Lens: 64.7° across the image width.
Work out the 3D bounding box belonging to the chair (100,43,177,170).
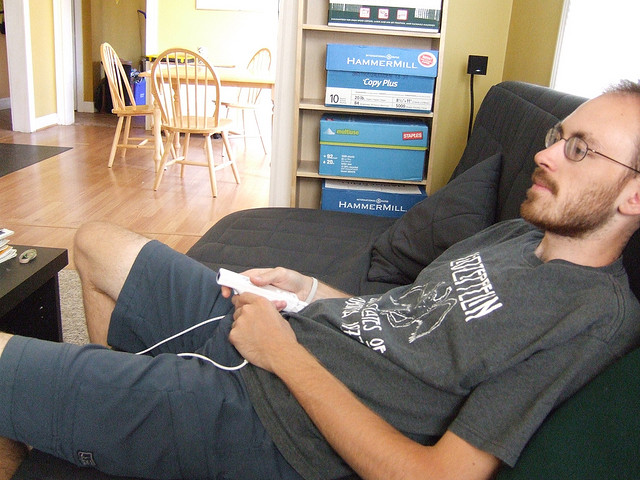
[{"bbox_3d":[-1.809,-1.397,4.934,0.592,1.039,0.529,5,37,-9],"label":"chair"}]

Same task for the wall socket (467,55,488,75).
[{"bbox_3d":[0.897,-0.988,2.844,0.115,0.097,0.065,3,22,-2],"label":"wall socket"}]

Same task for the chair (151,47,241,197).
[{"bbox_3d":[-1.057,-1.026,4.321,0.699,1.156,0.659,-3,19,-14],"label":"chair"}]

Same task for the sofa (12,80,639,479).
[{"bbox_3d":[0.056,0.255,2.084,1.129,0.897,1.937,13,27,-1],"label":"sofa"}]
